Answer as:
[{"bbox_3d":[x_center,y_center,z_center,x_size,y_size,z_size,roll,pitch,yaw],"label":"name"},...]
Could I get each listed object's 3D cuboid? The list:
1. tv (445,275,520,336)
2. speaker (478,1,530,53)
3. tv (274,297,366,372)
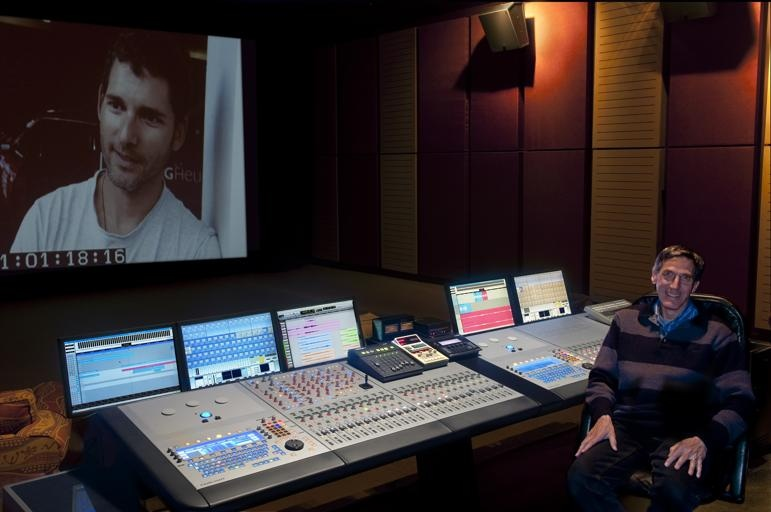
[{"bbox_3d":[0.656,0.342,3.529,0.399,0.258,0.019,-5,-9,-29],"label":"tv"},{"bbox_3d":[1.276,-2.454,5.679,0.431,0.438,0.239,-3,11,32],"label":"speaker"},{"bbox_3d":[-0.383,0.463,3.016,0.422,0.259,0.031,-7,-10,-29],"label":"tv"}]
